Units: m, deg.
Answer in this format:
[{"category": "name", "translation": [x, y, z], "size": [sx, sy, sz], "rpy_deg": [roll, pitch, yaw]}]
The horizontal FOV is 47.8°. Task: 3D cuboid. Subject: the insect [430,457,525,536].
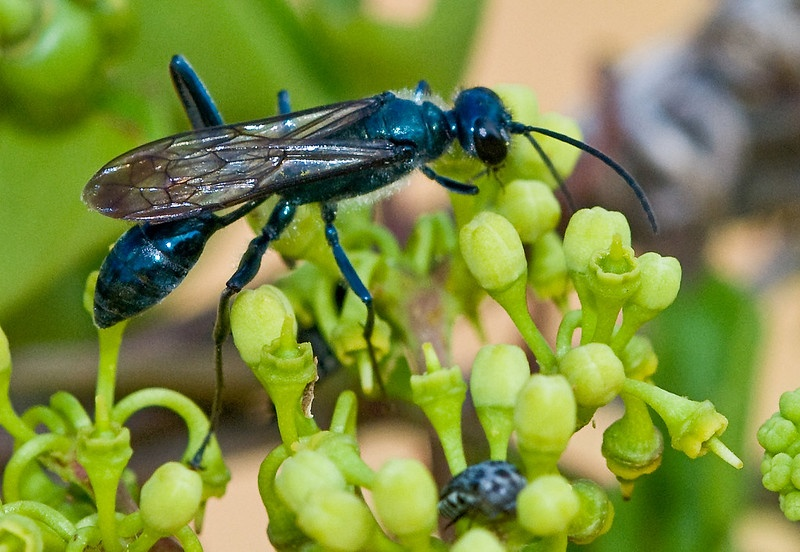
[{"category": "insect", "translation": [0.103, 0.290, 1.240], "size": [0.128, 0.078, 0.079], "rpy_deg": [-10, 38, -3]}]
